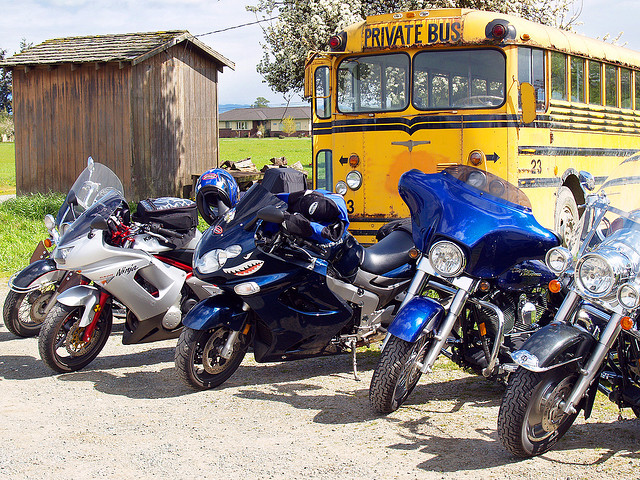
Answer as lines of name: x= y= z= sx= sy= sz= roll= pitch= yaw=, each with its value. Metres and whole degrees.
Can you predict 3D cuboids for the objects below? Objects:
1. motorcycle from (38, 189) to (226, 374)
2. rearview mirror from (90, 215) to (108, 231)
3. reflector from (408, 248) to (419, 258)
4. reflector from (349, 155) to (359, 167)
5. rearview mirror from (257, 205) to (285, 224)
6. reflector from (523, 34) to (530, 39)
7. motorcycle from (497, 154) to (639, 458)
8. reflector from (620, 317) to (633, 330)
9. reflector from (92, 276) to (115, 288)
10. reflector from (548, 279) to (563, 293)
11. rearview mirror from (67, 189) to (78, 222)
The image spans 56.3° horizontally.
motorcycle: x=-1.762 y=0.351 z=6.473 sx=1.106 sy=1.689 sz=2.653 roll=2 pitch=7 yaw=40
rearview mirror: x=-2.081 y=-0.170 z=5.622 sx=0.174 sy=0.144 sz=0.181 roll=1 pitch=6 yaw=8
reflector: x=0.903 y=0.119 z=5.741 sx=0.081 sy=0.087 sz=0.028 roll=0 pitch=-8 yaw=20
reflector: x=0.582 y=-1.368 z=10.158 sx=0.178 sy=0.190 sz=0.029 roll=3 pitch=6 yaw=23
rearview mirror: x=-0.410 y=-0.220 z=5.030 sx=0.226 sy=0.139 sz=0.146 roll=0 pitch=6 yaw=-7
reflector: x=3.228 y=-3.203 z=9.362 sx=0.067 sy=0.071 sz=0.024 roll=-5 pitch=3 yaw=-24
motorcycle: x=1.956 y=0.503 z=4.387 sx=0.781 sy=2.111 sz=1.354 roll=5 pitch=8 yaw=39
reflector: x=2.092 y=0.566 z=4.077 sx=0.086 sy=0.086 sz=0.019 roll=1 pitch=6 yaw=4
reflector: x=-2.041 y=0.388 z=5.674 sx=0.180 sy=0.109 sz=0.071 roll=-2 pitch=6 yaw=-19
reflector: x=1.769 y=0.346 z=4.522 sx=0.092 sy=0.114 sz=0.040 roll=1 pitch=-13 yaw=-2
rearview mirror: x=-2.717 y=-0.386 z=6.573 sx=0.098 sy=0.353 sz=0.104 roll=-7 pitch=4 yaw=29
